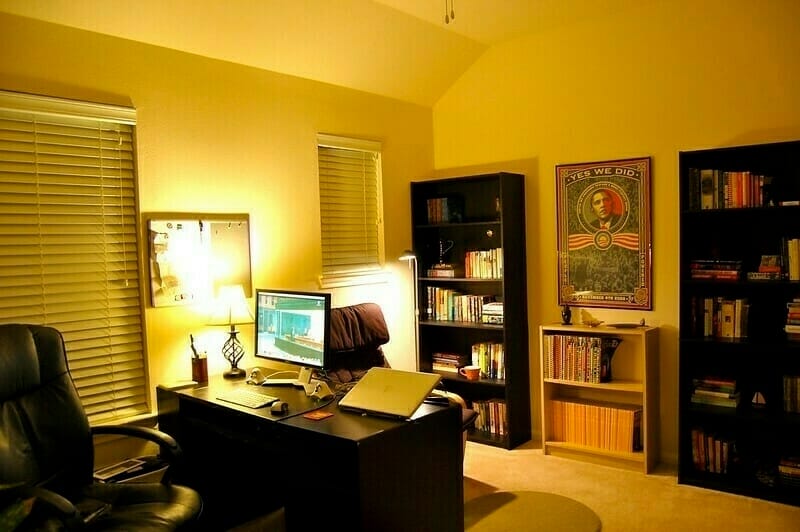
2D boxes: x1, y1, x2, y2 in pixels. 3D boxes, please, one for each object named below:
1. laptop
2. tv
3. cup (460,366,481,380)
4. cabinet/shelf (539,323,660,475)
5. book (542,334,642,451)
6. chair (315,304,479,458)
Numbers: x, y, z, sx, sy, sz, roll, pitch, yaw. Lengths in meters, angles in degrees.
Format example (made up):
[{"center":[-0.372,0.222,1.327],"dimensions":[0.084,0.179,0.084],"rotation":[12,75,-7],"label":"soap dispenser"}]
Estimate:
[{"center":[-0.070,0.755,3.577],"dimensions":[0.546,0.217,0.255],"rotation":[0,3,36],"label":"laptop"},{"center":[-0.768,0.520,4.153],"dimensions":[0.784,0.670,0.321],"rotation":[2,4,35],"label":"tv"},{"center":[0.672,0.980,5.511],"dimensions":[0.144,0.072,0.112],"rotation":[1,3,35],"label":"cup"},{"center":[1.725,1.120,4.981],"dimensions":[1.252,1.467,0.453],"rotation":[-1,0,36],"label":"cabinet/shelf"},{"center":[1.669,1.066,5.029],"dimensions":[0.991,1.113,0.413],"rotation":[5,10,41],"label":"book"},{"center":[0.101,1.047,4.982],"dimensions":[1.575,1.540,1.059],"rotation":[-5,-6,11],"label":"chair"}]
